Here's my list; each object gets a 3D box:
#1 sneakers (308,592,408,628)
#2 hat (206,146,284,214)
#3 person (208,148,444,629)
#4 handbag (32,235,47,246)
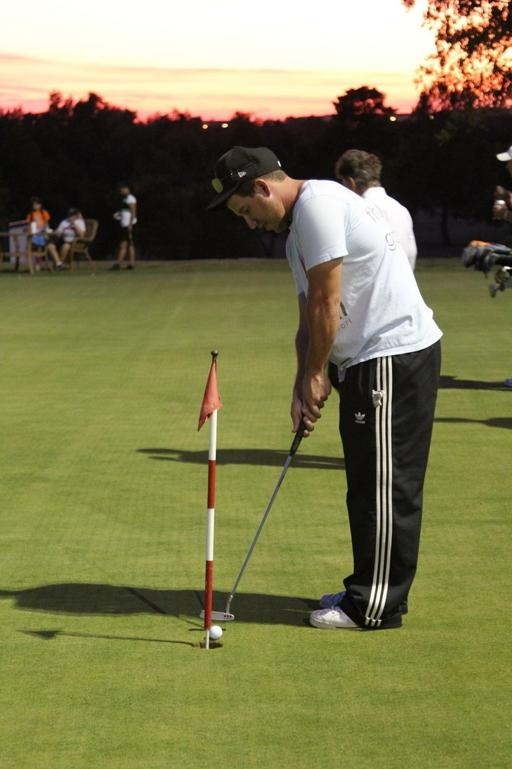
[{"bbox_3d":[0.334,0.822,4.313,0.397,0.144,0.123,4,8,3],"label":"sneakers"},{"bbox_3d":[-0.046,-0.725,4.082,0.293,0.155,0.208,-22,4,15],"label":"hat"},{"bbox_3d":[0.260,0.029,4.181,0.715,1.679,0.502,2,8,7],"label":"person"},{"bbox_3d":[-5.265,-3.497,28.930,0.239,0.151,0.279,6,-33,-4],"label":"handbag"}]
